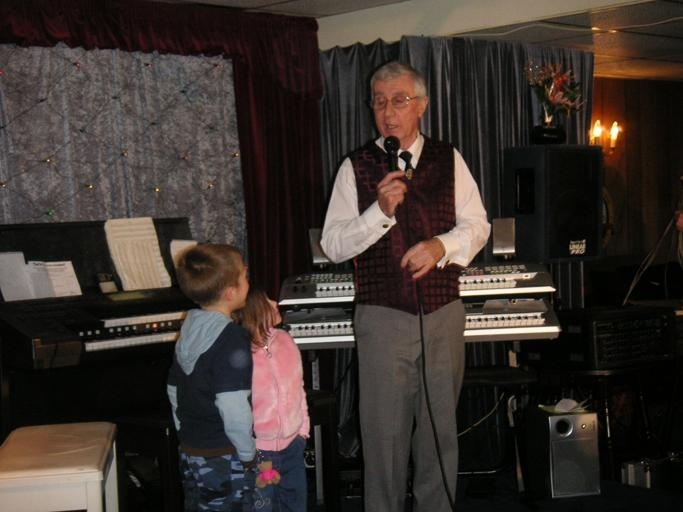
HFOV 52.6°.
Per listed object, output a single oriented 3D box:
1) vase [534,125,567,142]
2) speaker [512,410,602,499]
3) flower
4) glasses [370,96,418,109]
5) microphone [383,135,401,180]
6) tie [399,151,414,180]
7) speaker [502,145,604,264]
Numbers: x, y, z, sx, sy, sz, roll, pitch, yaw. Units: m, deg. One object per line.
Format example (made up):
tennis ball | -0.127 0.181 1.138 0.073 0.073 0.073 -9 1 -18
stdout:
vase | 1.453 -0.855 4.857 0.232 0.135 0.110 -1 6 9
speaker | 1.255 1.158 4.299 0.498 0.648 0.462 -3 1 -15
flower | 1.565 -1.206 5.106 0.402 0.519 0.657 0 6 18
glasses | 0.247 -0.713 3.229 0.214 0.061 0.086 -2 6 5
microphone | 0.223 -0.460 3.095 0.067 0.164 0.156 -2 6 4
tie | 0.298 -0.424 3.194 0.075 0.125 0.033 -19 22 14
speaker | 1.474 -0.368 4.745 0.566 0.770 0.278 0 6 18
